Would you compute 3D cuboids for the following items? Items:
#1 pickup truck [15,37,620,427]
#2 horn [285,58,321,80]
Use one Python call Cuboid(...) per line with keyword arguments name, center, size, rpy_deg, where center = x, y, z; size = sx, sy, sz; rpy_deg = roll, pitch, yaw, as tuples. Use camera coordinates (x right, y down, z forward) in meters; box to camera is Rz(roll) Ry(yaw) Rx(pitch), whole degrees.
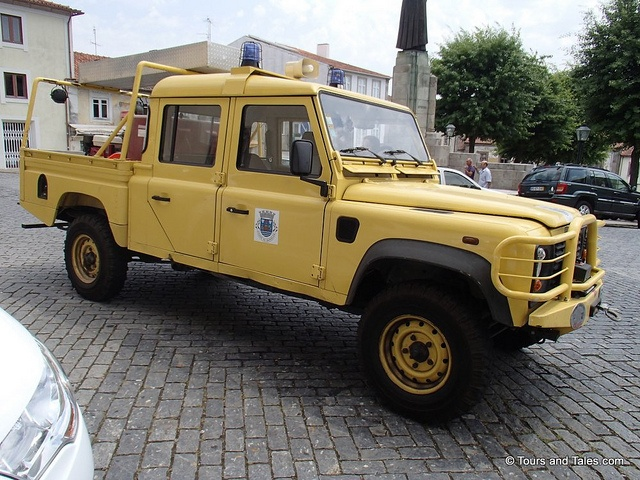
Cuboid(name="pickup truck", center=(-0.416, -0.700, 5.680), size=(7.015, 3.047, 2.862), rpy_deg=(11, 14, 31))
Cuboid(name="horn", center=(-0.171, -1.884, 4.881), size=(0.284, 0.167, 0.255), rpy_deg=(7, 13, 26))
